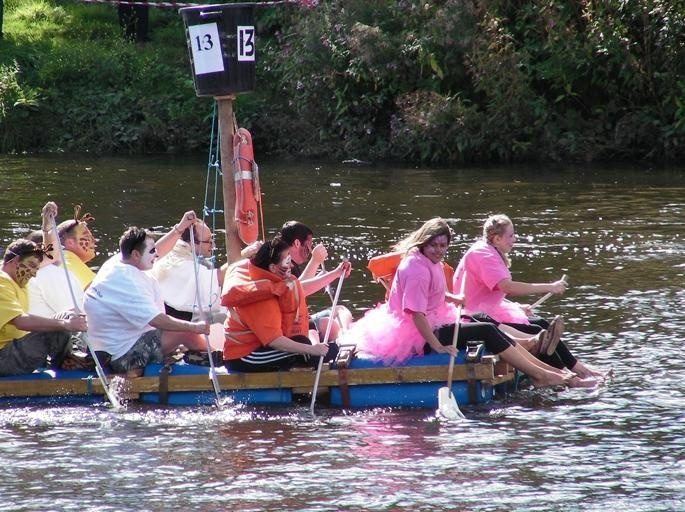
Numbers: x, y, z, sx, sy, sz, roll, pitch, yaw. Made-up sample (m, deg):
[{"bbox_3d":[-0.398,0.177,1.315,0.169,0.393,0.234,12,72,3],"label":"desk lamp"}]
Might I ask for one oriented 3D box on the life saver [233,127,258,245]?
[{"bbox_3d":[-1.432,-0.990,20.653,0.387,1.698,0.662,-4,-3,17],"label":"life saver"}]
